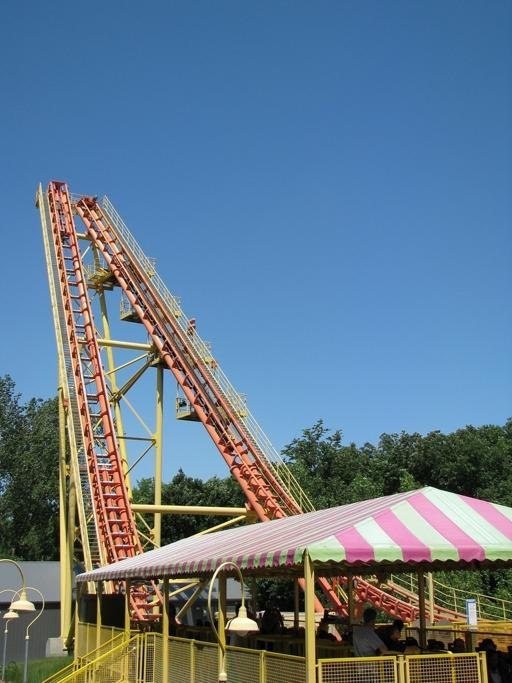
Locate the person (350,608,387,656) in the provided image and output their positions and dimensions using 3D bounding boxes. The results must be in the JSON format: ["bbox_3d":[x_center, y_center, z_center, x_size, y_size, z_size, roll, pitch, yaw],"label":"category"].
[{"bbox_3d":[1.274,3.306,9.246,0.351,0.436,1.219,-5,-14,6],"label":"person"}]

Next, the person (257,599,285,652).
[{"bbox_3d":[0.237,5.604,15.953,0.309,1.060,0.318,10,0,24],"label":"person"}]
